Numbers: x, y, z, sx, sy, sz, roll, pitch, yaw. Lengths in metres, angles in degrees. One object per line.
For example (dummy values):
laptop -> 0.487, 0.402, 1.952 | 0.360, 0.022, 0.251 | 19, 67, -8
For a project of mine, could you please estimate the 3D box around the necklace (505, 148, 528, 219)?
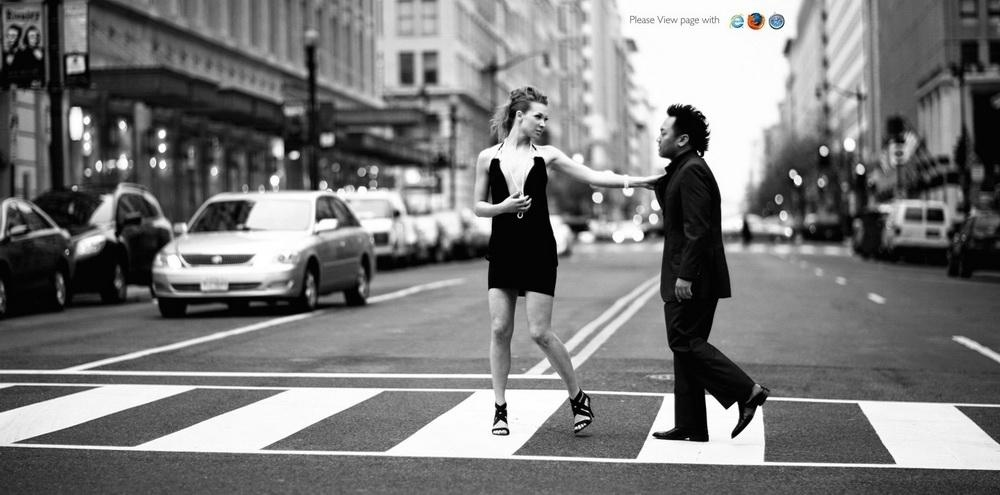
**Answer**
necklace -> 0.168, -0.803, 11.993 | 0.164, 0.871, 0.461 | -3, 6, -36

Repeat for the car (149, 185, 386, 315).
car -> -5.237, 0.145, 21.288 | 4.607, 2.639, 2.737 | -1, 5, -17

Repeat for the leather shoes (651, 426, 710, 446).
leather shoes -> 2.226, 2.244, 11.931 | 0.670, 0.302, 0.246 | 5, 1, 21
